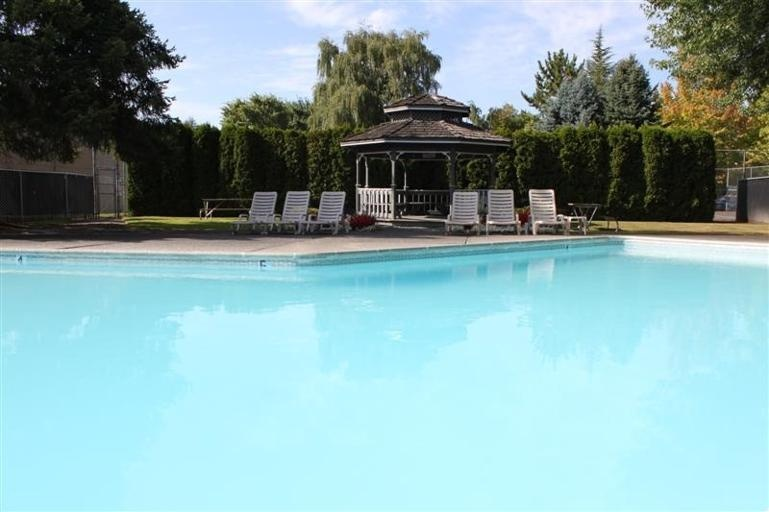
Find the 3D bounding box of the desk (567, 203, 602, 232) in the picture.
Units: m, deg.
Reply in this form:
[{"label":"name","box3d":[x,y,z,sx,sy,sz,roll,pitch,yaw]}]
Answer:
[{"label":"desk","box3d":[7.070,-1.371,24.978,1.055,1.199,1.147,0,-2,-2]}]

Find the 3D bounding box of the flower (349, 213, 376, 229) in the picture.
[{"label":"flower","box3d":[-0.675,-1.026,21.701,0.817,0.468,0.295,1,11,0]}]
